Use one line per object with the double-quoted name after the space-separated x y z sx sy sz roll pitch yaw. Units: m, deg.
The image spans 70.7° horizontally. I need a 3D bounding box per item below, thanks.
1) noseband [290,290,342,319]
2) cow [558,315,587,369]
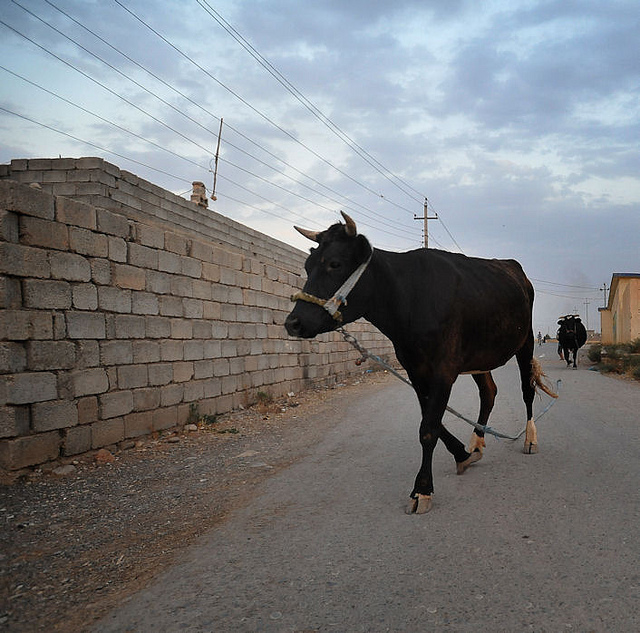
-0.038 -0.123 3.416 0.291 0.081 0.217 24 0 -8 "noseband"
10.371 0.615 18.837 1.000 1.651 3.353 0 8 28 "cow"
